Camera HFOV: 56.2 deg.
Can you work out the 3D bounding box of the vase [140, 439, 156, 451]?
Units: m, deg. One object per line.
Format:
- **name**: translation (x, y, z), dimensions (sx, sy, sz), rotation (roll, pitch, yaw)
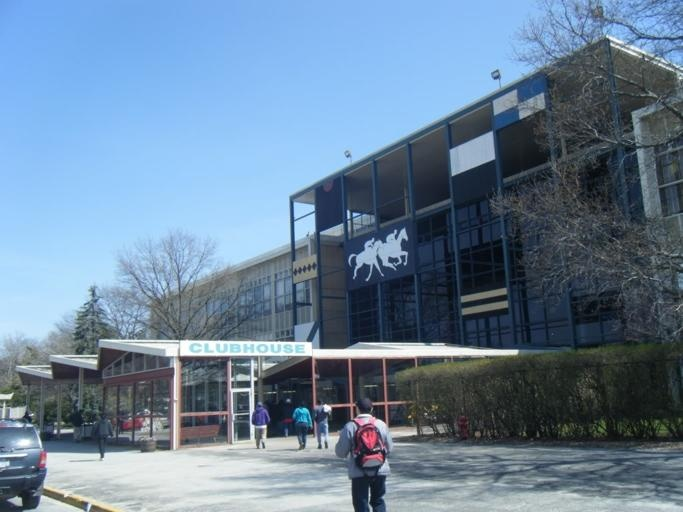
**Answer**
- **vase**: translation (-8.030, 7.872, 26.681), dimensions (0.618, 0.586, 0.431), rotation (-10, -17, 16)
